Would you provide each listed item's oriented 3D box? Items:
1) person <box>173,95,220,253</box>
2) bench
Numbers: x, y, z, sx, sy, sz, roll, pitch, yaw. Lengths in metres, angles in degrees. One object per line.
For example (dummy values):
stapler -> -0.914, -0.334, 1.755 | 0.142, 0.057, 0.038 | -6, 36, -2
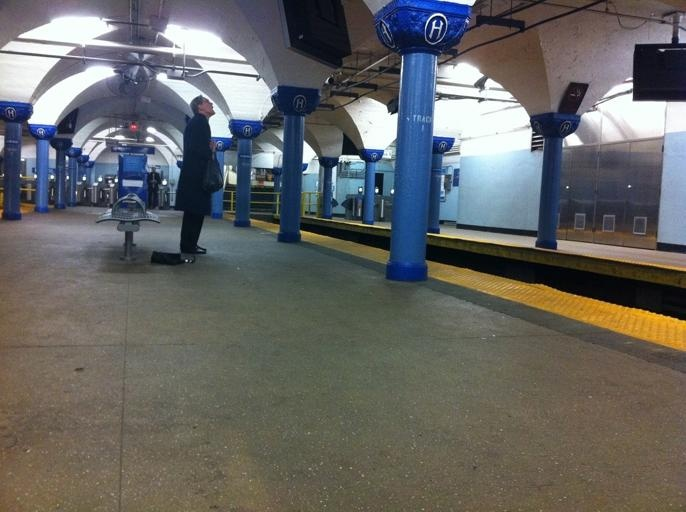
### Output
person -> -2.393, -1.300, 7.870 | 0.676, 2.640, 0.975 | 0, 8, -19
bench -> -3.392, -0.449, 7.523 | 0.699, 1.048, 1.064 | -3, 9, -36
